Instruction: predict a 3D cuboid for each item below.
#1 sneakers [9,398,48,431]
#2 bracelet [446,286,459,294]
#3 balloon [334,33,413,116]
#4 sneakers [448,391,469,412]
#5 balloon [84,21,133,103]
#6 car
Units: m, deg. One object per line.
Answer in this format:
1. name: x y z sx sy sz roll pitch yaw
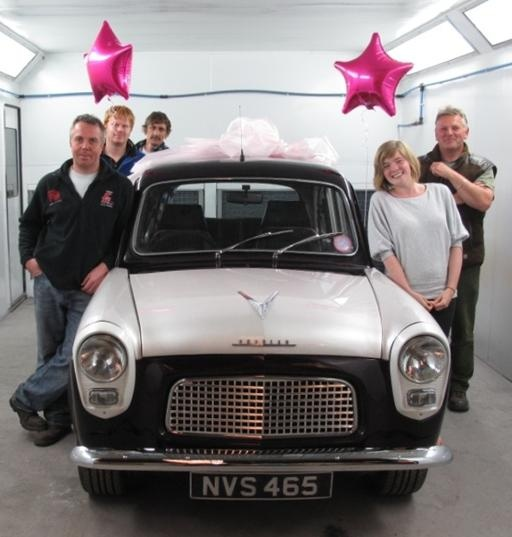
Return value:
1. sneakers: -1.225 0.757 2.795 0.285 0.123 0.100 15 28 27
2. bracelet: 1.052 0.114 2.809 0.057 0.071 0.041 2 1 0
3. balloon: 0.875 -1.433 3.883 0.266 0.567 0.605 -6 11 -39
4. sneakers: 1.244 0.820 3.207 0.127 0.102 0.133 4 9 20
5. balloon: -1.026 -1.472 3.635 0.298 0.580 0.464 -1 9 -17
6. car: -0.016 0.058 2.318 1.151 0.920 1.908 1 12 0
